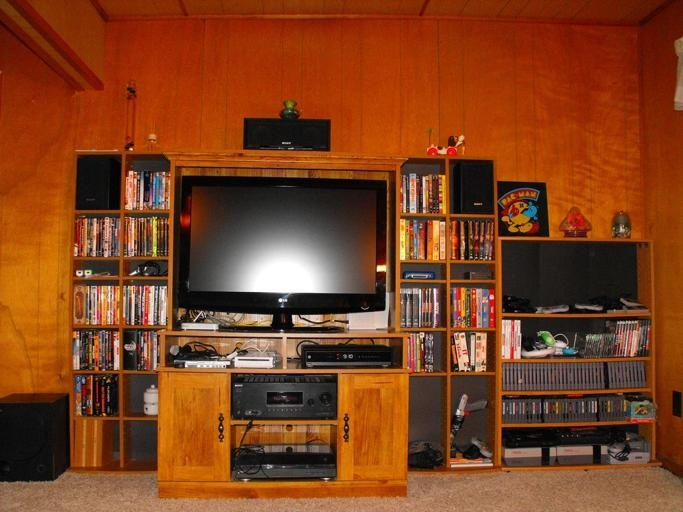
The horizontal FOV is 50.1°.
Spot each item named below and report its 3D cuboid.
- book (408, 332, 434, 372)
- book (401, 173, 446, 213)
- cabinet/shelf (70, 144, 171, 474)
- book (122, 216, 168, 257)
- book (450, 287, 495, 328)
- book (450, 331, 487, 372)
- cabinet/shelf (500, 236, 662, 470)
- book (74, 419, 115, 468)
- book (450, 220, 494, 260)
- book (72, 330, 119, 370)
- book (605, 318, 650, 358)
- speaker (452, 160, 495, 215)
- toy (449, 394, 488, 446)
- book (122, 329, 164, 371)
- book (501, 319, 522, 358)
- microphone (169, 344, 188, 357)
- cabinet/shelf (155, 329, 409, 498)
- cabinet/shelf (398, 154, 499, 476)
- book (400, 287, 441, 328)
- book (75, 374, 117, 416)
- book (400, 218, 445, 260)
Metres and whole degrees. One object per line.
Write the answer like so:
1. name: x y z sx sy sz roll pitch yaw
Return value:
1. book: 0.592 0.680 5.469 0.242 0.331 0.336 1 -3 6
2. book: 0.617 -0.458 5.437 0.327 0.299 0.076 0 -4 -7
3. cabinet/shelf: -1.589 0.279 5.341 0.708 2.038 0.364 0 14 -15
4. book: -1.398 -0.133 5.405 0.361 0.355 0.268 1 2 -1
5. book: 0.960 0.392 5.496 0.364 0.362 0.274 0 -4 1
6. book: 0.954 0.709 5.421 0.268 0.293 0.277 -1 -3 5
7. cabinet/shelf: 1.694 0.659 5.381 1.145 1.741 0.454 -2 -4 14
8. book: -1.799 1.369 5.491 0.302 0.397 0.417 0 -4 1
9. book: 0.954 -0.106 5.513 0.365 0.355 0.274 2 2 1
10. book: -1.774 0.692 5.296 0.339 0.282 0.049 -1 -4 3
11. book: 2.170 0.607 5.420 0.285 0.281 0.067 2 -4 1
12. speaker: 1.072 -0.527 5.547 0.327 0.422 0.247 6 14 40
13. toy: 0.922 1.204 5.438 0.335 0.114 0.344 40 -45 -22
14. book: -1.473 0.650 5.407 0.271 0.349 0.358 2 -5 -22
15. book: 1.300 0.624 5.449 0.221 0.295 0.093 3 -6 -43
16. microphone: -1.145 0.675 5.162 0.120 0.050 0.075 -1 41 -1
17. cabinet/shelf: -0.405 1.137 5.304 1.715 1.097 0.600 1 -7 -7
18. cabinet/shelf: 0.776 0.329 5.440 0.758 2.163 0.257 3 -24 2
19. book: 0.562 0.378 5.479 0.351 0.348 0.262 0 -3 -4
20. book: -1.743 0.977 5.402 0.355 0.355 0.263 1 -2 2
21. book: 0.614 -0.116 5.409 0.341 0.302 0.071 0 -4 -10
